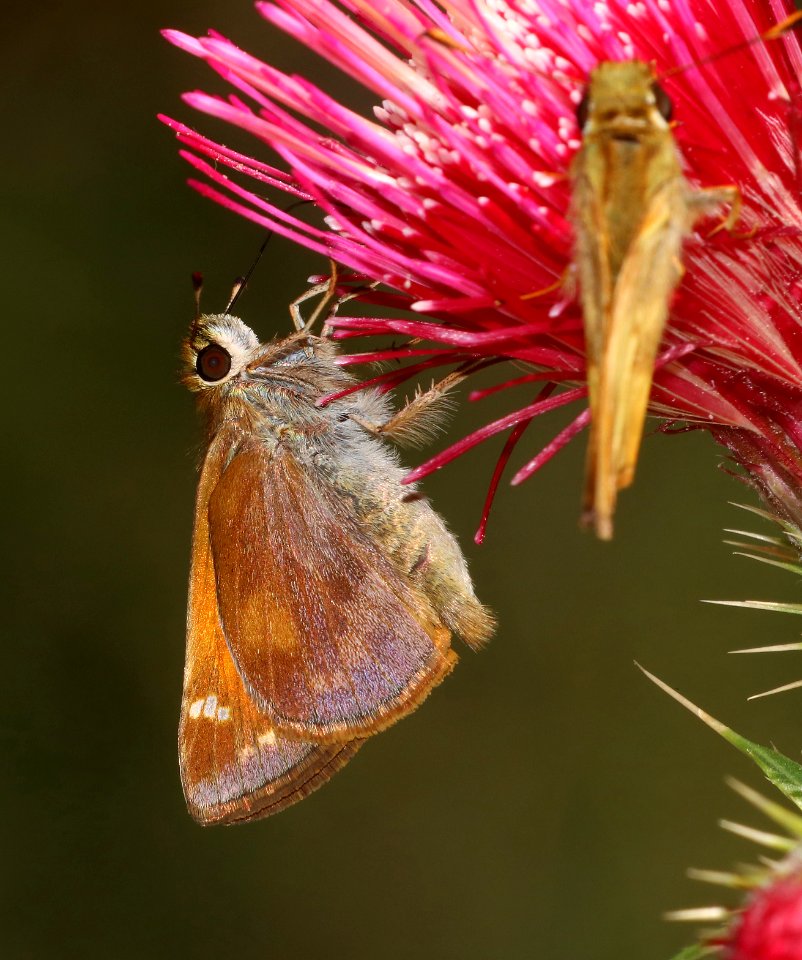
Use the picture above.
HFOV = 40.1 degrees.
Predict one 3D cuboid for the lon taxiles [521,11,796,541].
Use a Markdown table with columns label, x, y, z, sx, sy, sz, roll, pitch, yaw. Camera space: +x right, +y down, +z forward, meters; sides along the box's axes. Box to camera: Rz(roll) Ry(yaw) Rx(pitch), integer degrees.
| label | x | y | z | sx | sy | sz | roll | pitch | yaw |
| --- | --- | --- | --- | --- | --- | --- | --- | --- | --- |
| lon taxiles | 0.212 | -0.169 | 1.015 | 0.336 | 0.372 | 0.195 | 1 | -5 | 33 |
